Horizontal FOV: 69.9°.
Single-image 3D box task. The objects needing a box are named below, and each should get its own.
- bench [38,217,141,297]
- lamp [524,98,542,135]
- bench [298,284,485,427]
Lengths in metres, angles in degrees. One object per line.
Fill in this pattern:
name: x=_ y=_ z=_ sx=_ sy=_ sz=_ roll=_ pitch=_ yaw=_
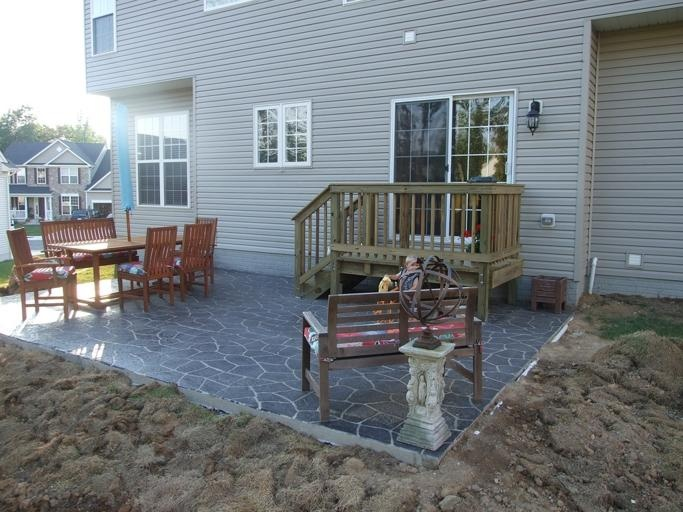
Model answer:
bench: x=-4.104 y=-0.067 z=8.514 sx=1.383 sy=0.989 sz=1.475 roll=9 pitch=9 yaw=16
lamp: x=2.989 y=-2.202 z=7.735 sx=0.202 sy=0.551 sz=0.186 roll=8 pitch=16 yaw=31
bench: x=0.314 y=0.931 z=4.731 sx=1.874 sy=1.030 sz=0.989 roll=2 pitch=-11 yaw=-33
